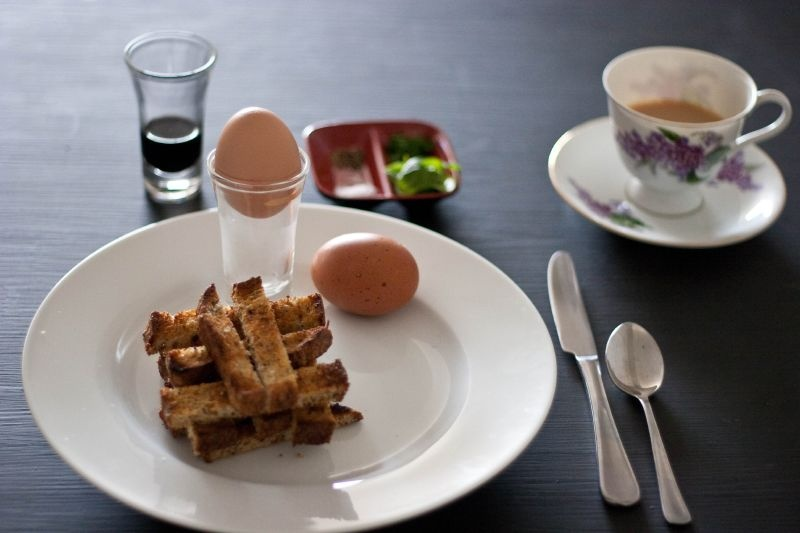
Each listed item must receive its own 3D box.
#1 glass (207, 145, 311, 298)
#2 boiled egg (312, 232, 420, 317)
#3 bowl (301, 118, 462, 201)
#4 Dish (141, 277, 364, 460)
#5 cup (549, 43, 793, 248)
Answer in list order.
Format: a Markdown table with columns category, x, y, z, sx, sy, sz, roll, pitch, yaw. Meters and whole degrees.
| category | x | y | z | sx | sy | sz | roll | pitch | yaw |
| --- | --- | --- | --- | --- | --- | --- | --- | --- | --- |
| glass | -0.234 | -0.073 | 1.176 | 0.148 | 0.209 | 0.151 | -12 | 33 | -29 |
| boiled egg | -0.048 | 0.015 | 1.155 | 0.144 | 0.112 | 0.115 | 8 | 92 | 0 |
| bowl | -0.050 | -0.189 | 1.402 | 0.226 | 0.049 | 0.185 | 1 | 47 | -8 |
| Dish | -0.203 | 0.135 | 0.961 | 0.256 | 0.097 | 0.251 | -17 | 68 | -9 |
| cup | 0.502 | -0.180 | 1.358 | 0.402 | 0.222 | 0.405 | -4 | 41 | 4 |
